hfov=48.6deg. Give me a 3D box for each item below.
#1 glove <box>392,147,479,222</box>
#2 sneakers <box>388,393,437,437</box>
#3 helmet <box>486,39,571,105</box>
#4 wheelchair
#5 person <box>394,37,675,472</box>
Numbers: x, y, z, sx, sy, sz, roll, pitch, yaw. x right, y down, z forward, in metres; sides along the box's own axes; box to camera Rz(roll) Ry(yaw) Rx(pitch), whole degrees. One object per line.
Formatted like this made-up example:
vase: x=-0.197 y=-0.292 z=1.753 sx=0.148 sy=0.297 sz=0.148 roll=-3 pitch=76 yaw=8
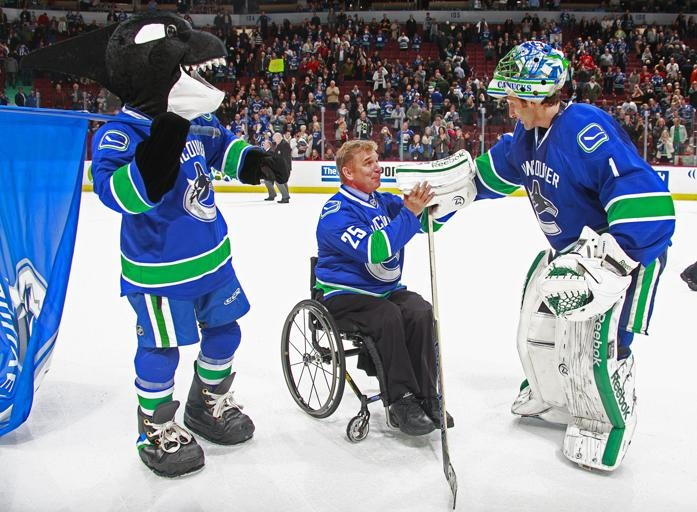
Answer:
glove: x=0.539 y=-0.430 z=4.502 sx=0.388 sy=0.415 sz=0.190 roll=-19 pitch=-26 yaw=-2
sneakers: x=0.358 y=0.907 z=4.362 sx=0.148 sy=0.159 sz=0.349 roll=-3 pitch=-5 yaw=-34
helmet: x=0.948 y=-0.961 z=4.052 sx=0.401 sy=0.276 sz=0.301 roll=7 pitch=38 yaw=17
wheelchair: x=0.144 y=0.498 z=4.792 sx=1.015 sy=1.067 sz=0.857 roll=8 pitch=4 yaw=25
person: x=1.174 y=-0.019 z=4.221 sx=1.102 sy=2.200 sz=0.733 roll=11 pitch=18 yaw=30
